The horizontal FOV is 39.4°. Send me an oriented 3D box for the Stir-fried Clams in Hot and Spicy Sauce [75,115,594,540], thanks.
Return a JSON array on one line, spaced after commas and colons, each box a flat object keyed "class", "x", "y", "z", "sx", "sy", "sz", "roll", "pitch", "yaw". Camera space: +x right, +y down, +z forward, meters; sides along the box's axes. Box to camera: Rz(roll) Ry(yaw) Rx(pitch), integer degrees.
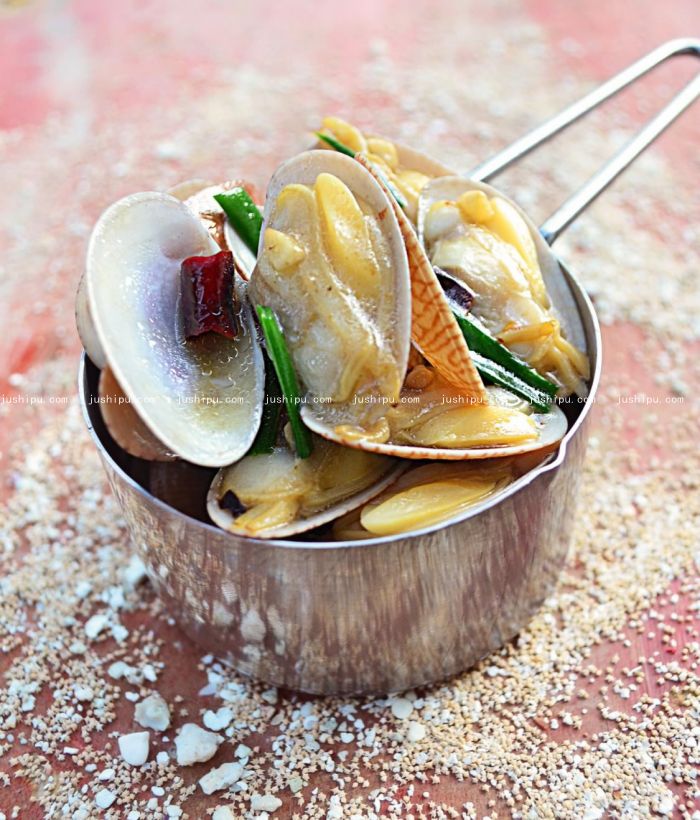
[{"class": "Stir-fried Clams in Hot and Spicy Sauce", "x": 0.001, "y": -0.094, "z": 1.017, "sx": 0.543, "sy": 0.337, "sz": 0.457, "roll": -6, "pitch": 44, "yaw": -13}]
